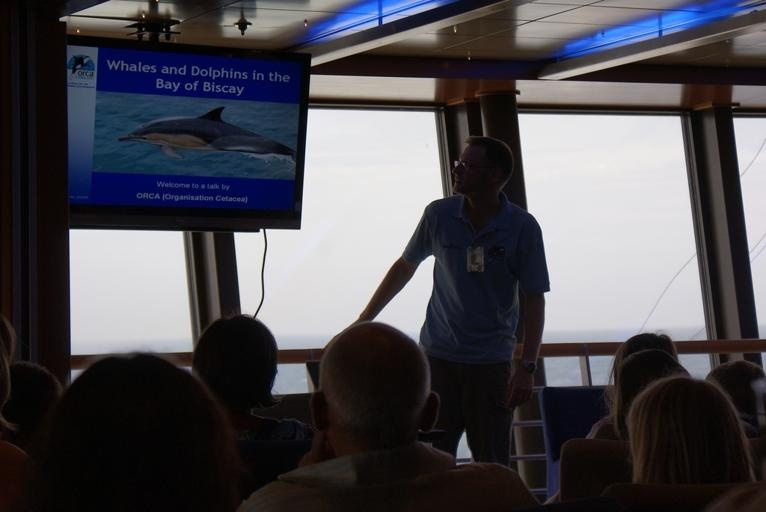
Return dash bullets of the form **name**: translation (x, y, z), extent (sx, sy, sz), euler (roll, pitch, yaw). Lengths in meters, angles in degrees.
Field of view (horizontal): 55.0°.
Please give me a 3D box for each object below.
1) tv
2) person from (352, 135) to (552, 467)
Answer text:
- **tv**: translation (-1.091, -0.677, 4.207), extent (1.327, 1.048, 0.083), euler (1, 2, -19)
- **person**: translation (0.414, 0.236, 3.889), extent (0.809, 1.886, 0.719), euler (0, -2, 6)
